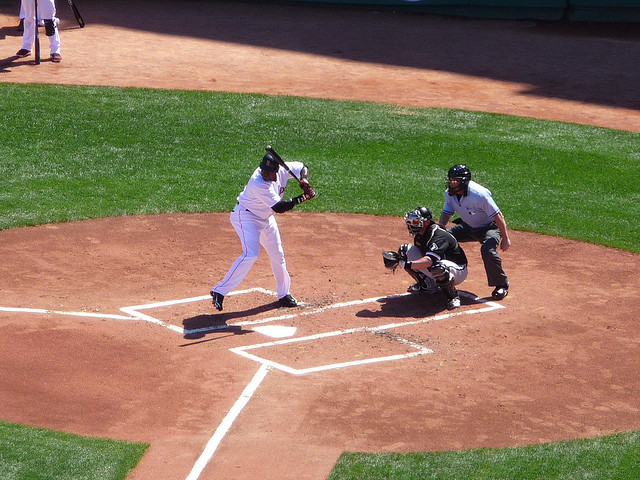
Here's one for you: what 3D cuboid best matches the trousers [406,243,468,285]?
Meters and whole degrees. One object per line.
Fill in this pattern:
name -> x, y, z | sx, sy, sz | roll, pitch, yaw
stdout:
trousers -> 1.915, 0.423, 15.110 | 0.856, 0.248, 0.727 | 7, 2, -23

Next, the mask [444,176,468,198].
mask -> 2.202, -0.856, 15.242 | 0.372, 0.412, 0.302 | 12, 20, 30

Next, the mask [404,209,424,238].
mask -> 1.489, -0.269, 14.810 | 0.298, 0.442, 0.265 | -2, 18, -13

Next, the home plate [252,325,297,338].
home plate -> -0.697, 1.368, 13.978 | 0.614, 0.064, 0.363 | 4, 15, 8

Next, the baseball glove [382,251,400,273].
baseball glove -> 1.137, 0.355, 14.703 | 0.302, 0.233, 0.235 | 6, 30, 5

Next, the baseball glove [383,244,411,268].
baseball glove -> 1.220, 0.217, 14.830 | 0.448, 0.368, 0.317 | 8, 30, 5

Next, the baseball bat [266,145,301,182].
baseball bat -> -0.589, -1.151, 14.347 | 0.141, 0.933, 0.172 | -22, 43, 28

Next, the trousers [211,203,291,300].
trousers -> -1.028, 0.217, 14.594 | 1.141, 1.531, 0.684 | -2, 18, -13

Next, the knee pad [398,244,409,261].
knee pad -> 1.315, 0.205, 14.834 | 0.237, 0.218, 0.176 | 15, 11, -5
